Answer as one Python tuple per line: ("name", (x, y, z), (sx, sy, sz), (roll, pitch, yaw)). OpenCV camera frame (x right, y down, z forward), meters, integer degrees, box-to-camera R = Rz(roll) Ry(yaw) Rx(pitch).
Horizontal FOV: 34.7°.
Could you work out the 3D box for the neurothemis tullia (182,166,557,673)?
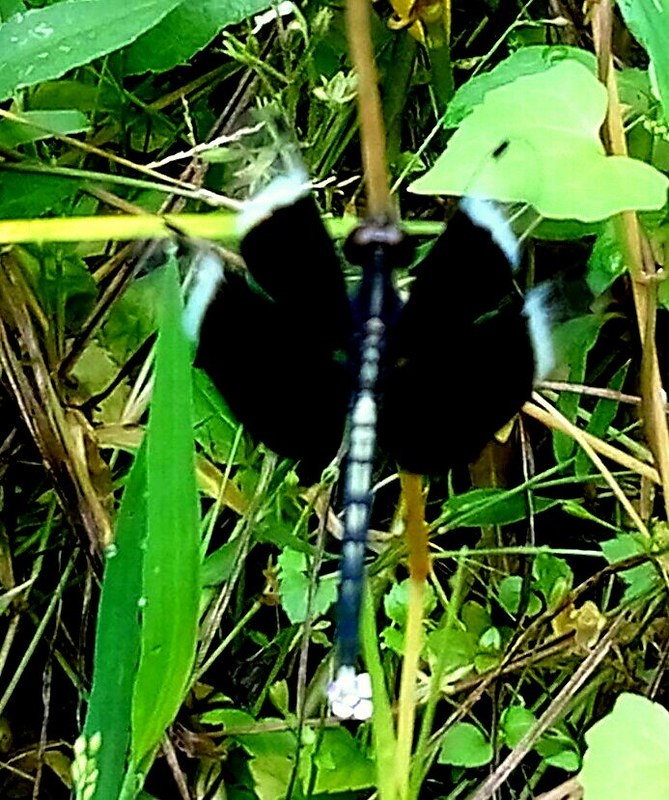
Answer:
("neurothemis tullia", (0.028, 0.018, 0.879), (0.278, 0.431, 0.087), (2, 0, 1))
